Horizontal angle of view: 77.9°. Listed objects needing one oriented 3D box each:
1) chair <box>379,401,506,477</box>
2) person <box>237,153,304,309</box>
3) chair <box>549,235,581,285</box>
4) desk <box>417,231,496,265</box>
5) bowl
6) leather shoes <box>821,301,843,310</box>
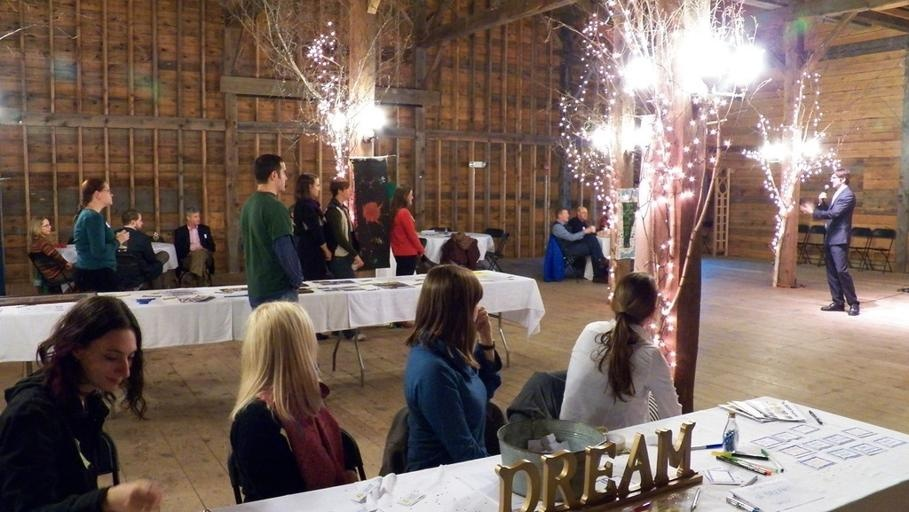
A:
[{"bbox_3d":[-0.115,1.167,3.760,0.677,0.638,0.511,0,0,-15],"label":"chair"},{"bbox_3d":[-1.716,-0.223,5.241,0.585,1.431,0.361,4,9,42],"label":"person"},{"bbox_3d":[2.191,0.059,11.901,0.899,1.057,0.793,-2,9,-3],"label":"chair"},{"bbox_3d":[0.053,-0.167,11.145,1.561,0.636,1.336,-4,7,-21],"label":"desk"},{"bbox_3d":[0.501,1.032,2.913,0.470,0.166,0.396,2,2,6],"label":"bowl"},{"bbox_3d":[6.042,0.803,8.995,0.263,0.095,0.138,3,2,7],"label":"leather shoes"}]
